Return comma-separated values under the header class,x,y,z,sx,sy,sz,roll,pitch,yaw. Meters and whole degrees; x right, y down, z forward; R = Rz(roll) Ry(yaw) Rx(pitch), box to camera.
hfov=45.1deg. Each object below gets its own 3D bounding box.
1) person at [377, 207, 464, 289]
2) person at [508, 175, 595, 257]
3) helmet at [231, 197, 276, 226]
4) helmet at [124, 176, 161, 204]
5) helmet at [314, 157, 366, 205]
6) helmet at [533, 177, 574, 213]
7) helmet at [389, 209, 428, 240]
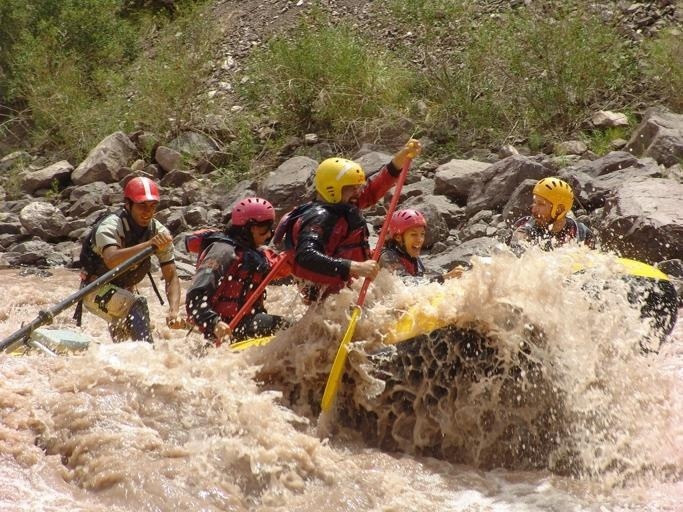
class,x,y,z,sx,sy,sz,roll,pitch,yaw
person,0.756,0.004,7.797,0.891,0.959,0.578,-1,-2,43
person,2.104,-0.411,8.363,1.004,1.084,0.635,-9,14,-43
helmet,-0.835,-0.423,7.807,0.334,0.286,0.252,-14,3,6
helmet,-1.993,-0.665,8.064,0.251,0.200,0.340,-3,10,-40
helmet,0.006,-0.690,7.394,0.434,0.367,0.334,7,12,4
helmet,2.187,-0.647,8.480,0.387,0.334,0.298,-17,8,5
helmet,0.661,-0.331,7.834,0.241,0.337,0.232,28,18,37
